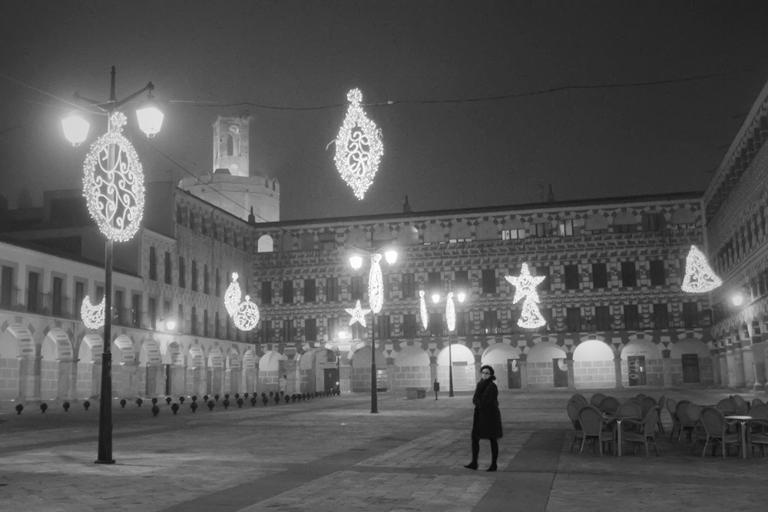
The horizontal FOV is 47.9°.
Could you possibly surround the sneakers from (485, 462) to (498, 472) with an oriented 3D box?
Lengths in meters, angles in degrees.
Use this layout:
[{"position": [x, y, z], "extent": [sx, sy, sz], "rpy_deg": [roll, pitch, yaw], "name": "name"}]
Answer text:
[{"position": [2.731, 5.316, 21.871], "extent": [0.241, 0.210, 0.228], "rpy_deg": [-2, -16, 3], "name": "sneakers"}]
